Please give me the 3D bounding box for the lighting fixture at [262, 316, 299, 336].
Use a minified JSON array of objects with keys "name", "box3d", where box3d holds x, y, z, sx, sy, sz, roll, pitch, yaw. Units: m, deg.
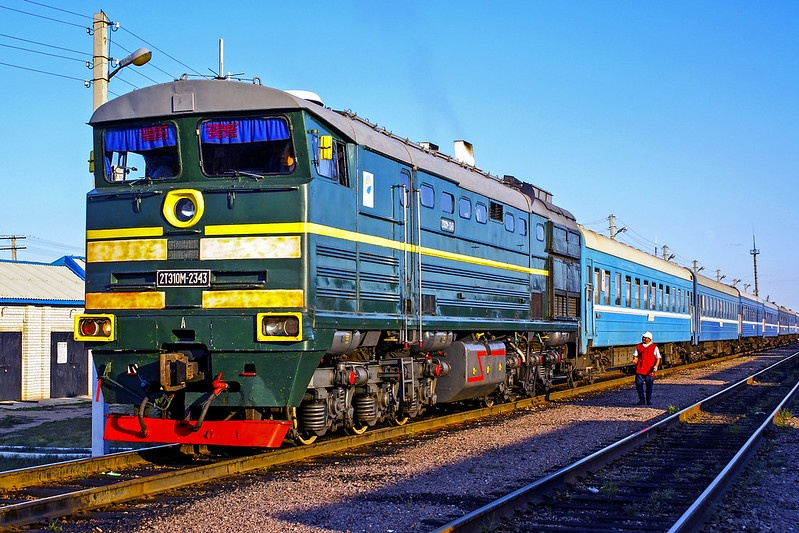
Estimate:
[{"name":"lighting fixture","box3d":[-1.861,0.946,11.548,0.586,0.326,0.076,0,-1,9]}]
